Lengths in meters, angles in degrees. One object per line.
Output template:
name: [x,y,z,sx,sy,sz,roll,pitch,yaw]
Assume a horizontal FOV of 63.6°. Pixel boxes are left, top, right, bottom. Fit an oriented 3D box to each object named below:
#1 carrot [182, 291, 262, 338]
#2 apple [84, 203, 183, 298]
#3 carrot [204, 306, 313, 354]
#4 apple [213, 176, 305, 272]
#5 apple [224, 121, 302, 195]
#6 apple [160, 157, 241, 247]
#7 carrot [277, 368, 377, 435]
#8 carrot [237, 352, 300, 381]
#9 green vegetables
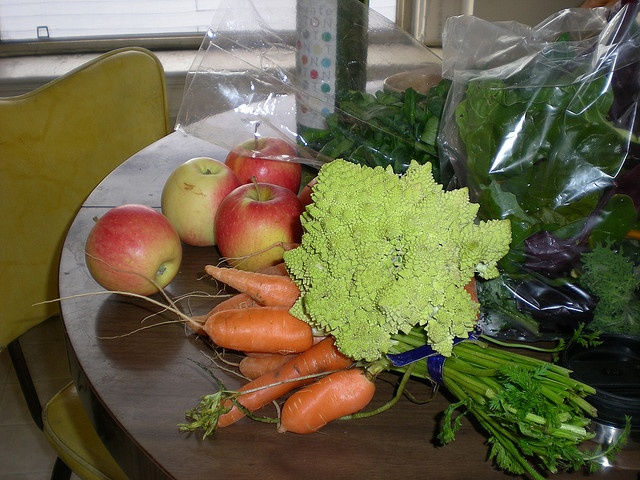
carrot: [-0.154,0.111,0.860,0.152,0.050,0.053,-23,-5,-3]
apple: [-0.342,0.018,0.961,0.150,0.153,0.158,-5,11,1]
carrot: [-0.094,0.158,0.844,0.191,0.077,0.082,10,-25,-23]
apple: [-0.108,-0.036,0.977,0.162,0.144,0.160,-1,12,0]
apple: [-0.131,-0.182,1.178,0.151,0.176,0.158,-28,43,-34]
apple: [-0.236,-0.066,1.092,0.162,0.146,0.159,8,11,11]
carrot: [0.019,0.224,0.776,0.145,0.058,0.064,-20,26,-14]
carrot: [-0.083,0.190,0.815,0.085,0.034,0.037,-9,10,-10]
green vegetables: [0.250,0.235,0.732,0.281,0.099,0.171,24,52,32]
